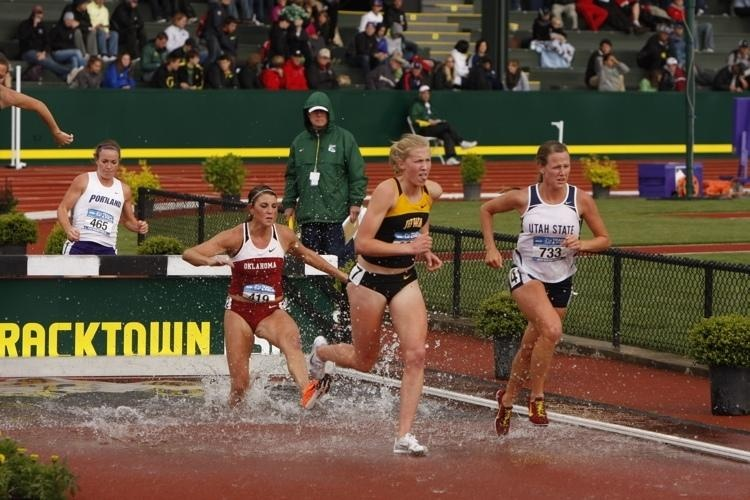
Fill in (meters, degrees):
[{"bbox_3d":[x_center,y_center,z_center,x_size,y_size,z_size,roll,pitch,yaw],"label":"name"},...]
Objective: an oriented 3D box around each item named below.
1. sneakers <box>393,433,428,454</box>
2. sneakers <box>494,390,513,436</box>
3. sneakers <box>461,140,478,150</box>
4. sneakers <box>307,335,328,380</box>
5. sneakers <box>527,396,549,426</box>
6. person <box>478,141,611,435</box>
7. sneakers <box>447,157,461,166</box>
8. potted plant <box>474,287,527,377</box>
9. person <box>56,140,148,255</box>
[{"bbox_3d":[0.346,1.847,10.958,0.298,0.172,0.165,-2,-2,27],"label":"sneakers"},{"bbox_3d":[1.336,1.667,11.589,0.154,0.478,0.194,-1,1,-27],"label":"sneakers"},{"bbox_3d":[2.717,-3.032,33.160,0.633,0.283,0.223,-7,54,-4],"label":"sneakers"},{"bbox_3d":[-0.618,1.185,12.332,0.157,0.493,0.195,-2,25,-4],"label":"sneakers"},{"bbox_3d":[1.715,1.650,11.828,0.207,0.317,0.244,3,12,9],"label":"sneakers"},{"bbox_3d":[1.770,0.368,11.812,1.180,2.906,1.105,0,11,-3],"label":"person"},{"bbox_3d":[2.236,-2.446,32.277,0.285,0.259,0.186,11,2,-6],"label":"sneakers"},{"bbox_3d":[1.538,1.003,13.611,0.792,1.182,0.917,1,2,-1],"label":"potted plant"},{"bbox_3d":[-3.486,-0.640,14.388,1.089,1.398,0.736,-4,12,-22],"label":"person"}]
